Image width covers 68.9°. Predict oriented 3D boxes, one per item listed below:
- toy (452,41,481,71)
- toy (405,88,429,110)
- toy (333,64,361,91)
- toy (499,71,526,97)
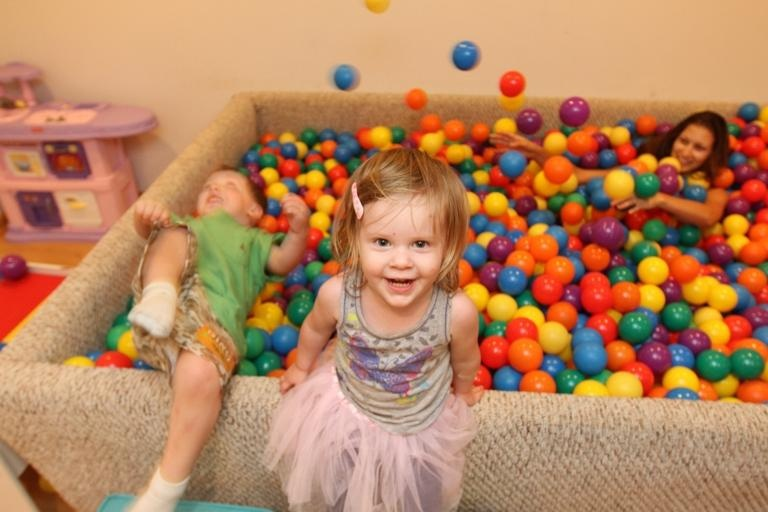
[{"bbox_3d":[0.384,-0.929,2.601,0.118,0.121,0.142,16,23,40],"label":"toy"},{"bbox_3d":[0.172,-0.821,2.991,0.116,0.111,0.088,1,-7,1],"label":"toy"},{"bbox_3d":[-0.206,-0.893,2.807,0.103,0.120,0.173,-14,23,-40],"label":"toy"},{"bbox_3d":[0.611,-0.810,2.654,0.109,0.117,0.129,4,17,9],"label":"toy"}]
